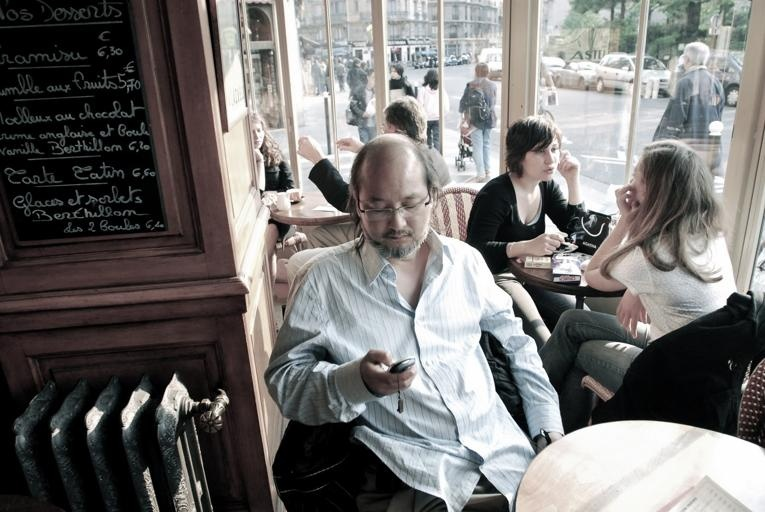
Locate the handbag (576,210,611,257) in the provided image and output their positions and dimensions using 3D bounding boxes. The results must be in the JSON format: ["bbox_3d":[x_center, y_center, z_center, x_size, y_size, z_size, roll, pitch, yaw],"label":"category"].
[{"bbox_3d":[1.178,-0.113,3.090,0.088,0.238,0.175,-3,27,-39],"label":"handbag"}]

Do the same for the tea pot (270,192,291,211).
[{"bbox_3d":[-0.753,-0.408,4.189,0.164,0.123,0.102,-9,17,-6],"label":"tea pot"}]

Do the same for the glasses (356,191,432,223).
[{"bbox_3d":[0.048,-0.157,1.931,0.246,0.063,0.058,-6,21,-6],"label":"glasses"}]
